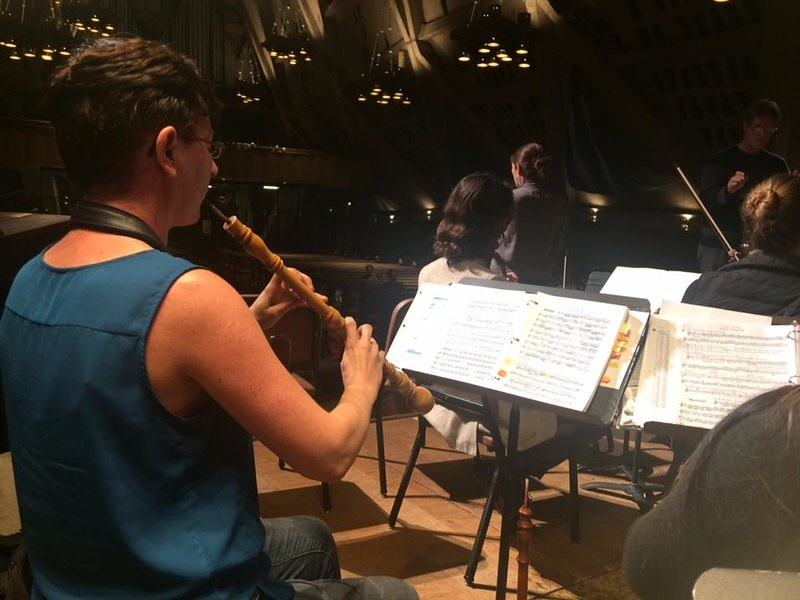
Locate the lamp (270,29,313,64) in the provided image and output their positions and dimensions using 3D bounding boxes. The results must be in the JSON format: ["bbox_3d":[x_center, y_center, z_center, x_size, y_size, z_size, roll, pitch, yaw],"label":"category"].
[{"bbox_3d":[-1.783,-4.083,10.762,0.914,0.246,0.696,-1,4,-18],"label":"lamp"}]
